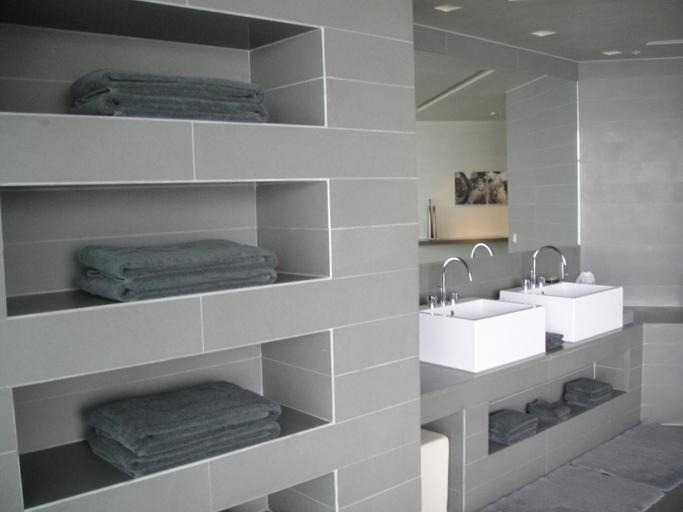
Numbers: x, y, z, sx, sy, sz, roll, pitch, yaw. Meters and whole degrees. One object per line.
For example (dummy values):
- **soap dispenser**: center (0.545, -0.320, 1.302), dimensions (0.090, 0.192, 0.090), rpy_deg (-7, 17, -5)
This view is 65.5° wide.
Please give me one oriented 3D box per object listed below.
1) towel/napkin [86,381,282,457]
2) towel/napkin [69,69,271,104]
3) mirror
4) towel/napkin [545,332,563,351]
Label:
- **towel/napkin**: center (-0.526, 0.524, 1.774), dimensions (0.278, 0.079, 0.289), rpy_deg (-7, 9, -45)
- **towel/napkin**: center (-0.554, -0.536, 1.735), dimensions (0.598, 0.103, 0.182), rpy_deg (-1, 13, -24)
- **mirror**: center (0.720, -0.633, 3.211), dimensions (0.734, 1.073, 0.209), rpy_deg (-5, 15, -35)
- **towel/napkin**: center (1.246, 0.502, 3.123), dimensions (0.095, 0.037, 0.096), rpy_deg (-8, 10, -39)
